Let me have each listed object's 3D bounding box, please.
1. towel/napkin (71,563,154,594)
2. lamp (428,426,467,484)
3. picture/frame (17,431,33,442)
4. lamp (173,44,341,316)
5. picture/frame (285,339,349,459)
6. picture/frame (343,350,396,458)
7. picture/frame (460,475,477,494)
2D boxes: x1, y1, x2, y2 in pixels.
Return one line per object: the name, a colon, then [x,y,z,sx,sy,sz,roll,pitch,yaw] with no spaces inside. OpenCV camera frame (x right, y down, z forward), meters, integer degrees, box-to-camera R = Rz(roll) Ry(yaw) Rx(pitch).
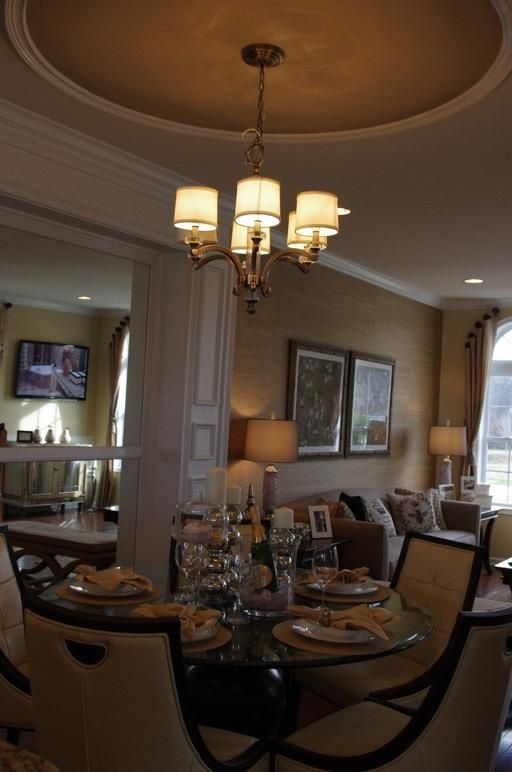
towel/napkin: [-0.454,0.624,1.786,0.136,0.041,0.119,7,-14,43]
lamp: [2.288,0.841,6.586,0.393,0.719,0.691,3,-2,21]
picture/frame: [-1.252,0.271,2.970,0.013,0.062,0.101,2,-2,26]
lamp: [0.005,-0.791,2.076,0.594,0.944,0.664,2,1,-13]
picture/frame: [0.521,0.106,4.889,0.092,1.285,1.150,2,1,40]
picture/frame: [1.154,0.177,5.702,0.077,1.111,1.124,1,-3,33]
picture/frame: [2.488,1.150,6.432,0.189,0.214,0.022,10,-14,-19]
